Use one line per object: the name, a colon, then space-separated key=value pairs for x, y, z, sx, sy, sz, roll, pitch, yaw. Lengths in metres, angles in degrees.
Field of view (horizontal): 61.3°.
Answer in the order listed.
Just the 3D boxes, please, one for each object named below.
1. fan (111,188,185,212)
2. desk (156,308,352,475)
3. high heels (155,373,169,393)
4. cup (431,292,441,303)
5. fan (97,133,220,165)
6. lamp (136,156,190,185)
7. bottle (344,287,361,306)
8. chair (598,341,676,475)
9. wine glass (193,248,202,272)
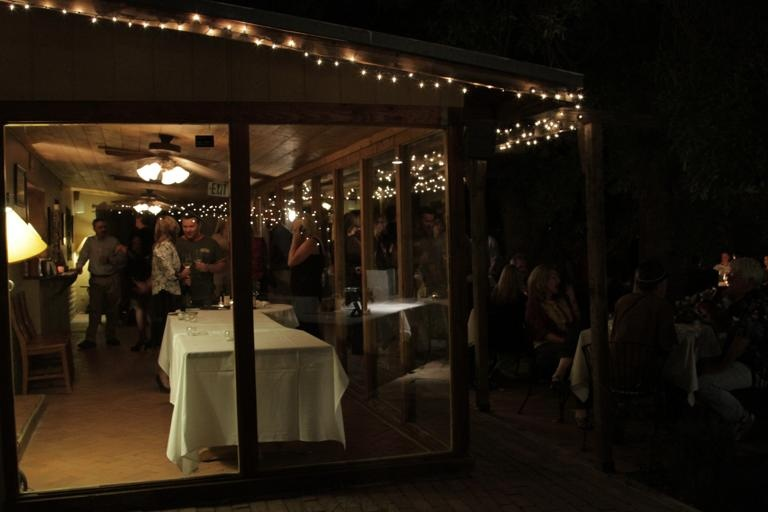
fan: x=-2.596 y=-0.590 z=7.141 sx=0.402 sy=0.164 sz=0.428 roll=4 pitch=4 yaw=25
desk: x=-1.476 y=1.290 z=7.068 sx=1.199 sy=0.815 sz=1.921 roll=-2 pitch=7 yaw=-15
high heels: x=-2.840 y=1.640 z=8.261 sx=0.132 sy=0.150 sz=0.375 roll=3 pitch=0 yaw=-30
cup: x=0.537 y=0.431 z=6.764 sx=0.077 sy=0.085 sz=0.082 roll=2 pitch=2 yaw=0
fan: x=-2.312 y=-1.092 z=6.541 sx=1.415 sy=0.319 sz=0.344 roll=8 pitch=14 yaw=28
lamp: x=-2.332 y=-0.889 z=6.822 sx=0.348 sy=0.101 sz=0.376 roll=4 pitch=-41 yaw=-5
bottle: x=-0.354 y=0.445 z=7.212 sx=0.166 sy=0.204 sz=0.179 roll=0 pitch=-2 yaw=-3
chair: x=2.657 y=1.556 z=7.189 sx=0.990 sy=1.737 sz=1.242 roll=1 pitch=2 yaw=24
wine glass: x=-1.984 y=0.036 z=6.911 sx=0.065 sy=0.247 sz=0.160 roll=-10 pitch=16 yaw=-42
